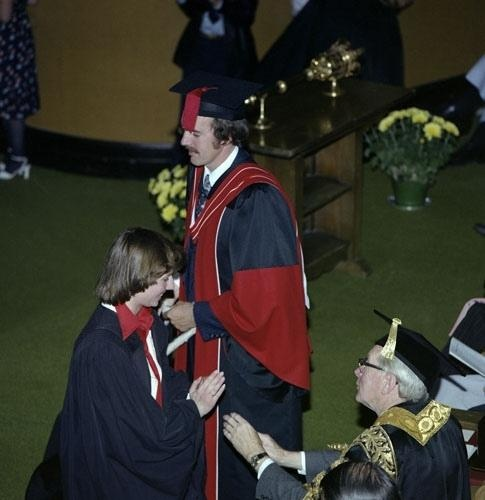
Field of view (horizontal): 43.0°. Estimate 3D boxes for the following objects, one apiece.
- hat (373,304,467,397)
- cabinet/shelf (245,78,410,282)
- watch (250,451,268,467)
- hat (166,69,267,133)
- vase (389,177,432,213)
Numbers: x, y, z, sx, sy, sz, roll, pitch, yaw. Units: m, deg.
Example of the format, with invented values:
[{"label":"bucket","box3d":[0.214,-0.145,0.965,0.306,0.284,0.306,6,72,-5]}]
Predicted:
[{"label":"hat","box3d":[0.628,0.310,2.035,0.315,0.144,0.382,-1,13,37]},{"label":"cabinet/shelf","box3d":[0.617,-0.507,4.341,0.718,1.236,0.945,22,45,35]},{"label":"watch","box3d":[0.056,0.717,2.134,0.041,0.030,0.055,-14,-19,-43]},{"label":"hat","box3d":[-0.106,-0.622,2.626,0.315,0.169,0.433,-22,32,-31]},{"label":"vase","box3d":[1.449,-0.475,5.351,0.253,0.239,0.264,-10,21,-28]}]
